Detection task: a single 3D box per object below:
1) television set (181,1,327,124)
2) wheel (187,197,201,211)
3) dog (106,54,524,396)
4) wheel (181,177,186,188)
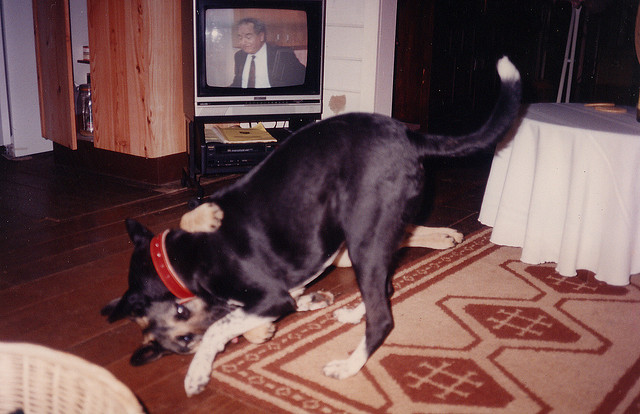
[{"bbox_3d":[-0.521,-1.171,3.732,1.117,1.095,0.653,-1,18,-1],"label":"television set"},{"bbox_3d":[-0.953,-0.020,3.561,0.084,0.083,0.099,5,15,11],"label":"wheel"},{"bbox_3d":[-0.047,0.079,2.307,1.976,1.465,0.695,-8,23,-16],"label":"dog"},{"bbox_3d":[-1.255,-0.221,4.344,0.082,0.085,0.031,8,12,40],"label":"wheel"}]
